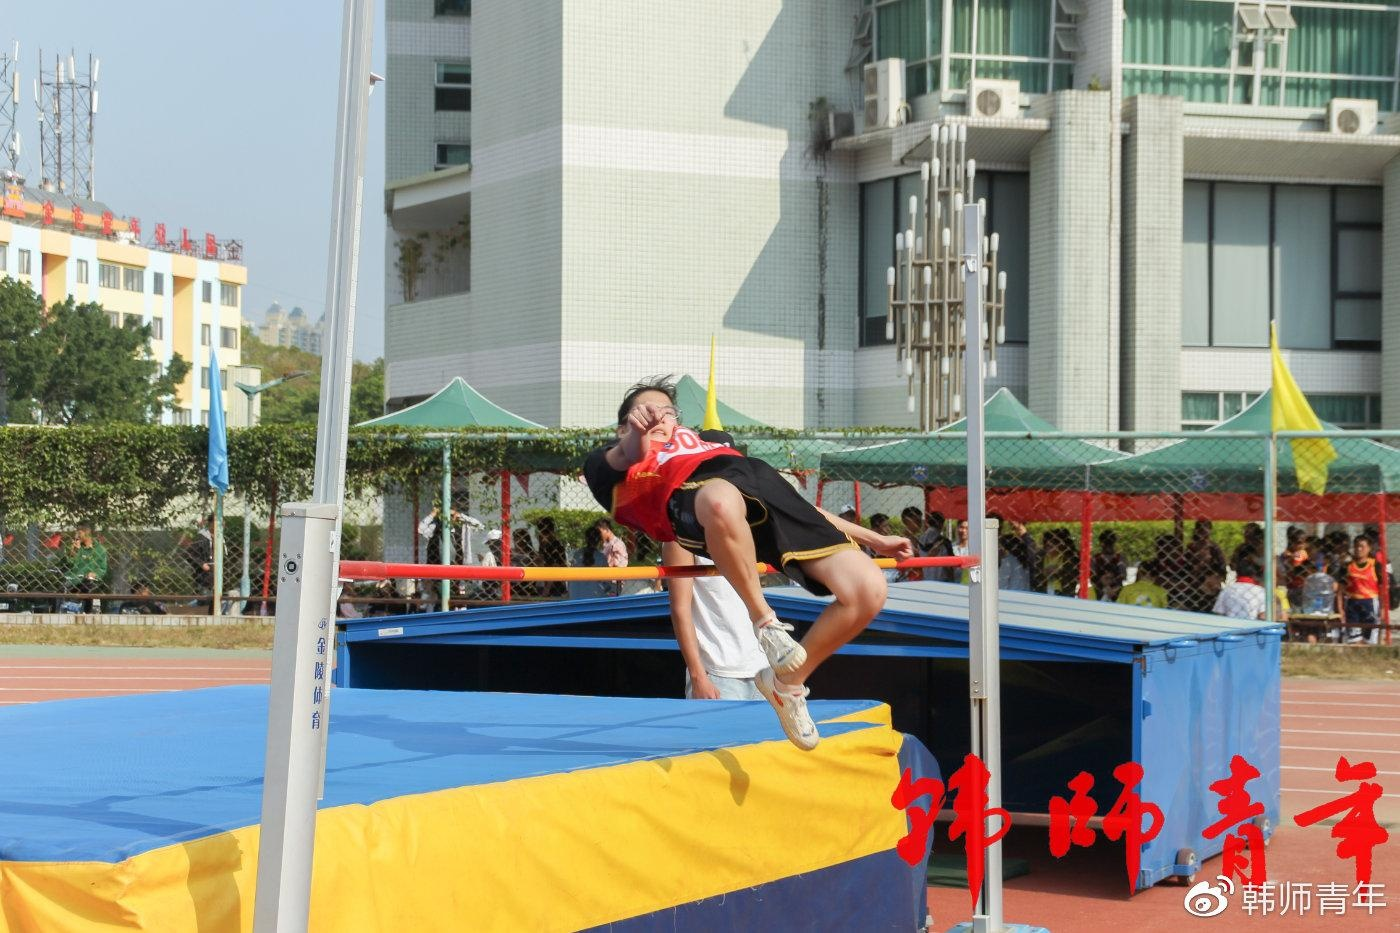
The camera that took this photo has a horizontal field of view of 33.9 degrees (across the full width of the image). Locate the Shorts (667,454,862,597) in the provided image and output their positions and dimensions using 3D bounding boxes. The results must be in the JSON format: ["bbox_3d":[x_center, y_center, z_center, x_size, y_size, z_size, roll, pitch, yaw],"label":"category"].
[{"bbox_3d":[0.614,0.615,24.339,1.764,1.362,0.690,28,-24,-13],"label":"Shorts"}]

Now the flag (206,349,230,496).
[{"bbox_3d":[-7.445,-0.680,35.604,0.309,2.297,1.539,0,-5,-13],"label":"flag"}]

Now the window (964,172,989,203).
[{"bbox_3d":[5.021,-4.987,40.869,0.618,0.617,0.147,-2,1,-8],"label":"window"}]

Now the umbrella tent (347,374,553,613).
[{"bbox_3d":[-3.848,0.698,36.100,3.422,4.431,3.573,2,-1,8],"label":"umbrella tent"}]

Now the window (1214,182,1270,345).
[{"bbox_3d":[9.728,-3.710,41.538,1.147,3.037,0.093,1,-1,-8],"label":"window"}]

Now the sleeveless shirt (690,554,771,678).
[{"bbox_3d":[0.297,1.781,26.177,0.866,1.355,0.466,-23,7,9],"label":"sleeveless shirt"}]

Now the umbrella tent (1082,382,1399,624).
[{"bbox_3d":[7.886,-0.138,32.721,4.199,1.812,2.556,-2,-5,4],"label":"umbrella tent"}]

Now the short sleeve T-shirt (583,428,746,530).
[{"bbox_3d":[-0.447,0.119,24.356,1.218,0.569,1.204,-18,47,-44],"label":"short sleeve T-shirt"}]

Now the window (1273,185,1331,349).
[{"bbox_3d":[10.955,-3.601,41.692,1.129,3.038,0.126,0,13,18],"label":"window"}]

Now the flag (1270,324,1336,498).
[{"bbox_3d":[8.395,-0.721,32.097,0.831,2.200,1.356,-2,-5,15],"label":"flag"}]

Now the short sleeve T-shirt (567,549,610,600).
[{"bbox_3d":[-1.424,1.440,29.939,0.585,0.881,0.449,2,-17,-7],"label":"short sleeve T-shirt"}]

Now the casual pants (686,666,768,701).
[{"bbox_3d":[0.244,2.486,25.683,0.694,0.288,0.445,2,0,0],"label":"casual pants"}]

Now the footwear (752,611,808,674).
[{"bbox_3d":[0.821,1.891,23.942,0.316,0.341,0.722,45,4,-37],"label":"footwear"}]

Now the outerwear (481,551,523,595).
[{"bbox_3d":[-2.527,1.398,29.641,0.345,0.400,0.630,6,-18,-8],"label":"outerwear"}]

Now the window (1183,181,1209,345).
[{"bbox_3d":[8.896,-3.661,41.423,0.580,3.016,0.156,-2,7,-4],"label":"window"}]

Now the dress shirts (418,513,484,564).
[{"bbox_3d":[-3.633,1.023,33.267,0.707,0.820,0.425,1,-10,-39],"label":"dress shirts"}]

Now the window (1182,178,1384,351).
[{"bbox_3d":[10.285,-3.633,41.674,3.812,3.047,0.188,5,14,30],"label":"window"}]

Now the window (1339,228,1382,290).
[{"bbox_3d":[11.964,-3.776,41.778,1.035,1.269,0.120,0,2,3],"label":"window"}]

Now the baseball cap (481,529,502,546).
[{"bbox_3d":[-3.021,1.027,33.780,0.248,0.147,0.332,-6,-10,-2],"label":"baseball cap"}]

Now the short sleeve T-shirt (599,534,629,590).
[{"bbox_3d":[-1.142,1.286,30.414,0.392,0.723,0.639,-10,9,-21],"label":"short sleeve T-shirt"}]
